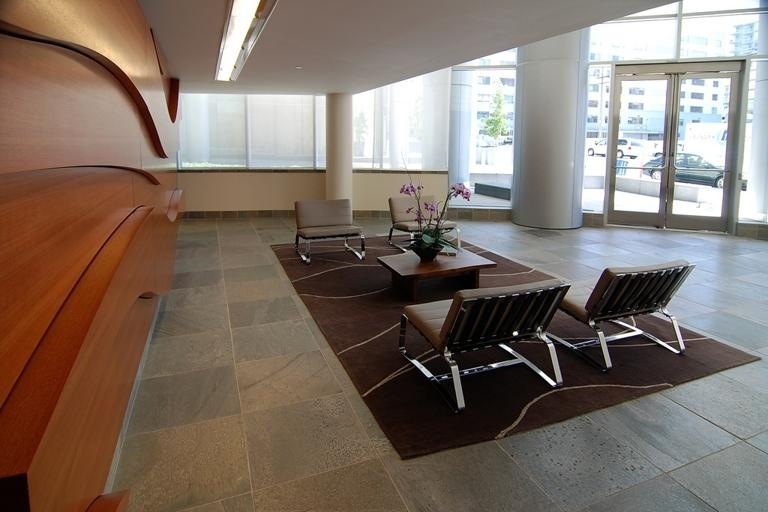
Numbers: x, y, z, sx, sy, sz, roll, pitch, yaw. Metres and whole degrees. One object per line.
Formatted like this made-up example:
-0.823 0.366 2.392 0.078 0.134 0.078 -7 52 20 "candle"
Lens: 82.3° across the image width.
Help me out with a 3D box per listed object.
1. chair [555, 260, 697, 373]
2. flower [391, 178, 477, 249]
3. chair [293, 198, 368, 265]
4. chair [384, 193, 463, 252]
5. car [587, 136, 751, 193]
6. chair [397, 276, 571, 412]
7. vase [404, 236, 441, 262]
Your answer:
2.190 0.398 4.508 0.932 0.951 1.275 -6 16 -14 "chair"
0.726 -0.721 8.215 1.269 1.079 1.731 -1 3 -33 "flower"
-1.013 -0.524 8.023 1.171 1.113 1.244 -3 11 -20 "chair"
0.736 -0.648 8.467 1.440 0.936 1.458 1 14 9 "chair"
6.255 -2.126 10.070 2.630 0.887 1.112 7 18 26 "car"
0.798 0.602 4.000 1.047 0.954 1.184 -8 21 -18 "chair"
0.559 -0.101 5.902 0.368 0.142 0.343 -1 11 -10 "vase"
